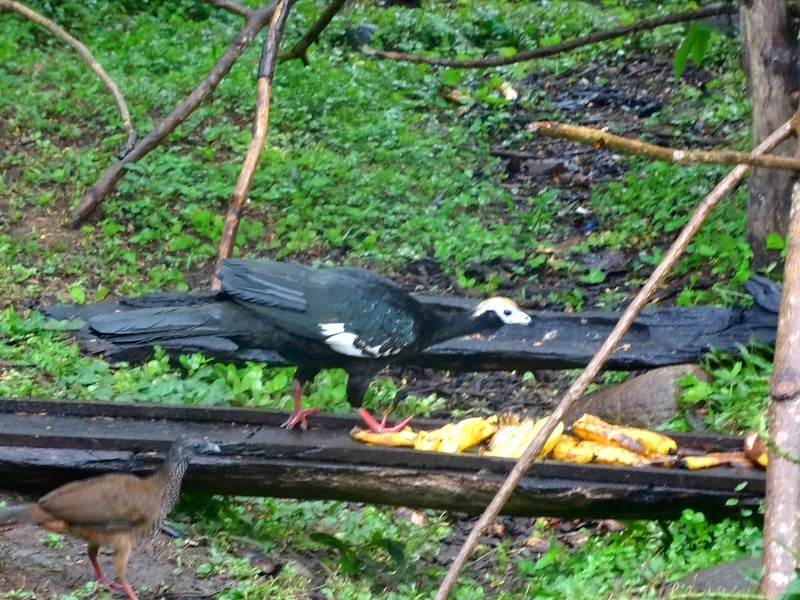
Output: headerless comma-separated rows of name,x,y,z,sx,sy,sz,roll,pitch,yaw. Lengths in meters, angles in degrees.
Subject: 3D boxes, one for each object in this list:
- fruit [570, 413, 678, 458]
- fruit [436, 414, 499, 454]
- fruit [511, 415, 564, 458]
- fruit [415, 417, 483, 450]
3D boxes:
fruit,1.593,0.973,7.737,0.579,0.115,0.309,15,7,5
fruit,0.530,0.952,7.832,0.176,0.166,0.525,-5,8,-24
fruit,0.951,0.928,7.590,0.348,0.125,0.372,-30,22,23
fruit,0.355,0.930,7.749,0.366,0.099,0.238,-23,2,-31
